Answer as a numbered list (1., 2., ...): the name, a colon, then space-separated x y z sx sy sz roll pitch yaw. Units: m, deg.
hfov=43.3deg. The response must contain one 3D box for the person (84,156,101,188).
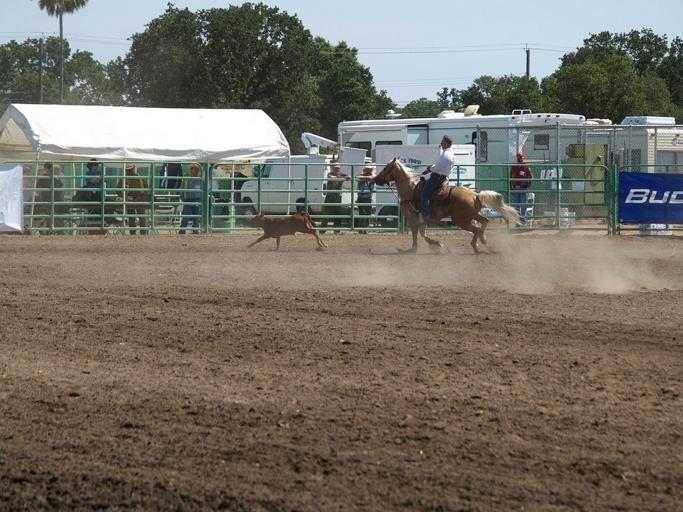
1. person: -6.463 -2.137 22.282 0.441 0.699 2.171 -2 5 -16

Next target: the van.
1. van: -1.040 -1.912 23.629 2.917 1.734 1.774 3 2 27

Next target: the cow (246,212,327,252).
1. cow: -1.320 -0.492 18.634 2.233 1.152 0.694 -2 -5 -1

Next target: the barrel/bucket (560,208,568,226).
1. barrel/bucket: 6.161 -1.076 23.765 0.202 0.499 0.971 1 5 16

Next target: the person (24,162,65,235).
1. person: -7.481 -1.554 21.972 0.871 1.687 1.166 -2 5 -22

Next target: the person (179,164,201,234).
1. person: -3.925 -1.405 22.309 0.556 1.685 1.488 -1 5 -10

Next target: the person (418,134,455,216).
1. person: 1.950 -1.572 17.618 0.687 1.794 1.163 0 5 6

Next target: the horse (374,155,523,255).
1. horse: 2.134 -1.086 18.072 2.779 1.962 1.105 1 5 9

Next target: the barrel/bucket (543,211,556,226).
1. barrel/bucket: 5.802 -1.051 23.945 0.340 0.354 0.179 15 29 37
